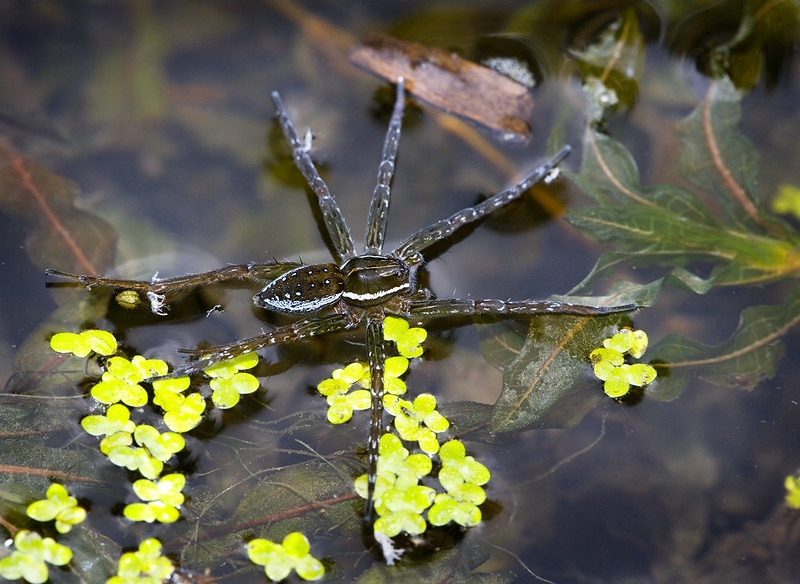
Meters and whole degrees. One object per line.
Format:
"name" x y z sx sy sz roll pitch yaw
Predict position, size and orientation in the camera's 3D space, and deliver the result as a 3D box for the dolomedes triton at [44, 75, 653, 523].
"dolomedes triton" -0.202 -0.059 4.874 2.670 0.350 2.300 -18 71 -9
